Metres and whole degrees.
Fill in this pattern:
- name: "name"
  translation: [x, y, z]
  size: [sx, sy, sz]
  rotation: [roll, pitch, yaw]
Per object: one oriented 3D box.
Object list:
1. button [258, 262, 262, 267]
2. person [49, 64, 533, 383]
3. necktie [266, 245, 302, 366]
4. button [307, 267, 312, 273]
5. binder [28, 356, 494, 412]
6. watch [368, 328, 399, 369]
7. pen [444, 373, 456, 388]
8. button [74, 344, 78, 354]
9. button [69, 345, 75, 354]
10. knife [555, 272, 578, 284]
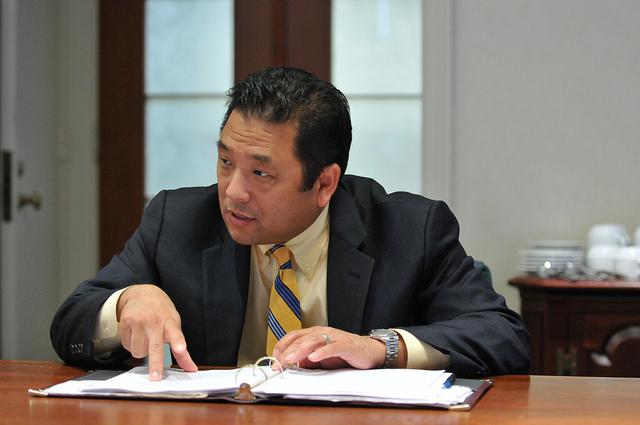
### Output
- name: "button"
  translation: [-0.206, 0.180, 2.125]
  size: [0.012, 0.017, 0.005]
  rotation: [-2, -10, -2]
- name: "person"
  translation: [-0.103, 0.014, 2.000]
  size: [1.427, 0.987, 0.631]
  rotation: [0, -4, -12]
- name: "necktie"
  translation: [-0.117, 0.297, 2.025]
  size: [0.111, 0.379, 0.165]
  rotation: [0, -4, -2]
- name: "button"
  translation: [-0.035, 0.198, 2.104]
  size: [0.015, 0.016, 0.005]
  rotation: [5, -2, 3]
- name: "binder"
  translation: [-0.125, 0.455, 1.656]
  size: [1.225, 0.119, 0.217]
  rotation: [-1, -5, 3]
- name: "watch"
  translation: [0.195, 0.400, 1.778]
  size: [0.077, 0.092, 0.101]
  rotation: [1, 0, -18]
- name: "pen"
  translation: [0.355, 0.459, 1.684]
  size: [0.012, 0.014, 0.088]
  rotation: [-43, -7, 11]
- name: "button"
  translation: [-0.732, 0.410, 1.842]
  size: [0.014, 0.024, 0.002]
  rotation: [-2, -4, 23]
- name: "button"
  translation: [-0.749, 0.414, 1.851]
  size: [0.005, 0.020, 0.020]
  rotation: [-3, 5, -45]
- name: "knife"
  translation: [1.131, 0.296, 2.807]
  size: [0.090, 0.023, 0.025]
  rotation: [30, 17, 36]
